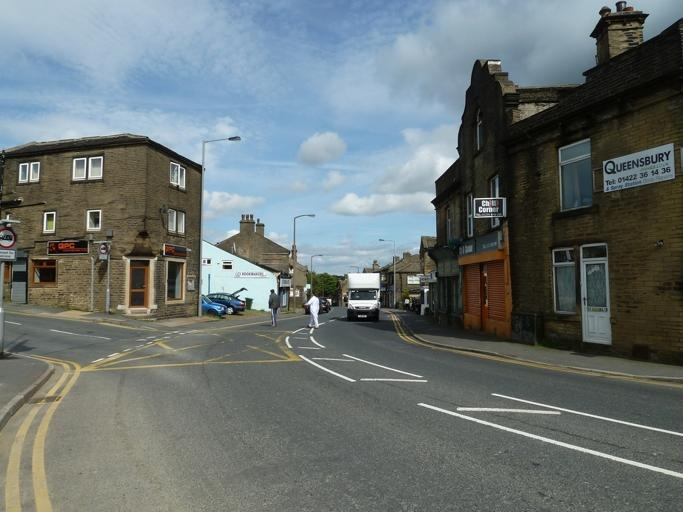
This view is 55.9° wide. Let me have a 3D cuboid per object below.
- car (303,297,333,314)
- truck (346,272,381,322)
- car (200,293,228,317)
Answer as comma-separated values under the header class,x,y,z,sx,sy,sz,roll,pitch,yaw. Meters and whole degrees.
class,x,y,z,sx,sy,sz,roll,pitch,yaw
car,-1.818,4.811,62.403,1.558,1.304,3.867,-1,-9,4
truck,1.274,2.390,37.770,1.902,2.821,2.056,-1,5,-1
car,-7.520,2.882,37.018,1.551,0.817,0.982,2,-3,10
